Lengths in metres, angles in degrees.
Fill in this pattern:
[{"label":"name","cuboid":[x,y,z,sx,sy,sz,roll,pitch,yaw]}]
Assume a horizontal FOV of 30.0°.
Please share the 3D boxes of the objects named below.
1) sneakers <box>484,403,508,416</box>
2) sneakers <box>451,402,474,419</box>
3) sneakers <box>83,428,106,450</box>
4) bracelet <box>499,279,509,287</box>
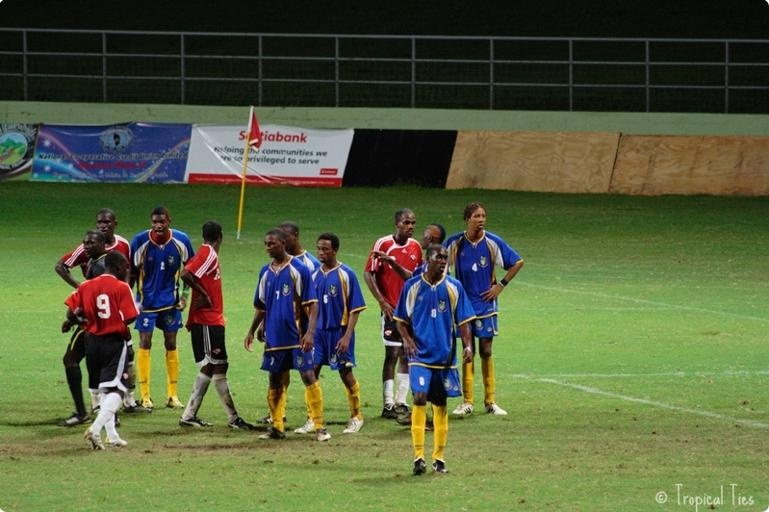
[{"label":"sneakers","cuboid":[2.640,3.592,33.985,0.473,0.175,0.246,-1,4,43]},{"label":"sneakers","cuboid":[1.866,3.630,34.009,0.555,0.233,0.214,-6,-27,-1]},{"label":"sneakers","cuboid":[-6.551,4.099,32.421,0.259,0.279,0.644,-14,-45,24]},{"label":"bracelet","cuboid":[2.864,0.641,34.349,0.223,0.147,0.211,27,-10,-13]}]
